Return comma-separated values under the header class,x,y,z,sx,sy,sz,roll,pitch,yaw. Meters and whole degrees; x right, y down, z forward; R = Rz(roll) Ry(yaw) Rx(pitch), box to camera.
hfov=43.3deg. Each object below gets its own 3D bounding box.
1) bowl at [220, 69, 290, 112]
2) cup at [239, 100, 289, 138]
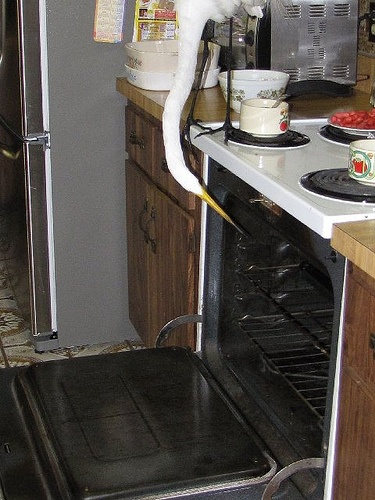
class,x,y,z,sx,sy,sz,roll,pitch,yaw
bowl,0.151,-0.381,1.172,0.153,0.068,0.148,-1,19,0
cup,0.147,-0.249,0.954,0.106,0.059,0.099,-1,33,1
